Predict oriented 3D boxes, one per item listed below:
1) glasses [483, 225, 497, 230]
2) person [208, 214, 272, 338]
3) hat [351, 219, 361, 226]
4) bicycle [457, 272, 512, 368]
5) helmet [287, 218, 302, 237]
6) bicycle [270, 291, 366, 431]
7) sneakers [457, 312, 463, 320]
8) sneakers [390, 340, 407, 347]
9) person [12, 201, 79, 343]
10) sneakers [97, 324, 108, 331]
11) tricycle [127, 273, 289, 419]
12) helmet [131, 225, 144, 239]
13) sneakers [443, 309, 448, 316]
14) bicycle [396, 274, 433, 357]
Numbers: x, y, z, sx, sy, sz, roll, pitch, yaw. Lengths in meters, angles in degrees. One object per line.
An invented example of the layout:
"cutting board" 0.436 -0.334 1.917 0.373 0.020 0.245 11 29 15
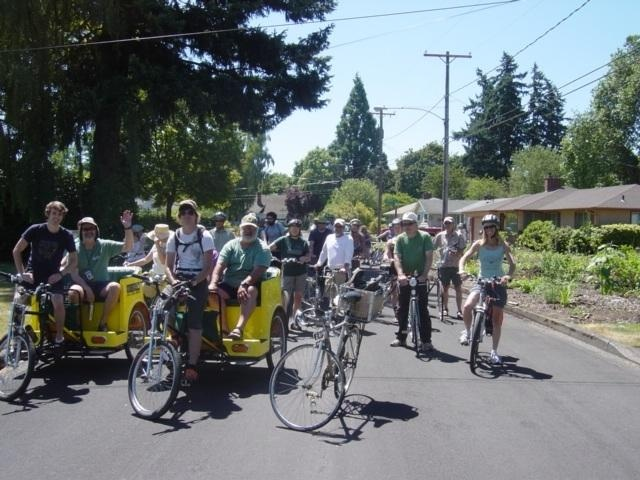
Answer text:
"glasses" 2.841 -0.209 11.559 0.195 0.075 0.089 3 8 15
"person" -1.233 0.548 10.595 0.918 2.112 1.116 11 -13 -29
"hat" 0.887 -0.464 17.668 0.171 0.115 0.260 0 -3 6
"bicycle" 2.743 1.373 11.430 0.594 1.509 0.983 3 8 16
"helmet" -0.524 -0.219 14.008 0.232 0.360 0.345 2 -17 1
"bicycle" 0.030 1.573 9.325 0.904 1.691 1.480 7 10 39
"sneakers" 3.225 1.763 15.933 0.122 0.149 0.089 -3 -1 24
"sneakers" 1.443 1.932 12.837 0.245 0.131 0.129 7 0 -22
"person" -4.235 0.494 10.662 0.905 2.126 0.797 -3 8 -24
"sneakers" -3.445 1.387 10.853 0.121 0.102 0.164 3 14 -17
"tricycle" -1.596 1.551 10.244 1.343 1.500 2.429 0 -4 19
"helmet" -3.794 -0.168 14.128 0.238 0.320 0.288 6 8 21
"sneakers" 2.984 1.742 16.417 0.093 0.131 0.313 -4 -24 9
"bicycle" 1.629 1.322 12.372 0.693 1.432 0.602 8 10 43
